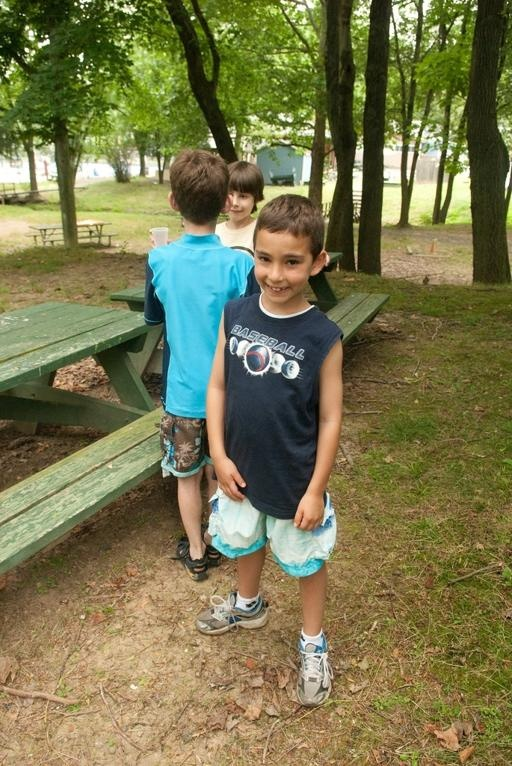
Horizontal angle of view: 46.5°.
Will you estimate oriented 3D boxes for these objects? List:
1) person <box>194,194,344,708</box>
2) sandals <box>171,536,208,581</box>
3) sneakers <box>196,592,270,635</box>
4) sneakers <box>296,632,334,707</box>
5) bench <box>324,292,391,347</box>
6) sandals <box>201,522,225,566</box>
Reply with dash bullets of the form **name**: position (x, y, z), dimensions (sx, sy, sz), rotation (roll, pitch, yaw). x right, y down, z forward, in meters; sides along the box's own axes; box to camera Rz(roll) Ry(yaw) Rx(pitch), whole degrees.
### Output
- **person**: position (0.053, 0.207, 1.719), dimensions (0.302, 1.429, 0.499), rotation (-16, 24, -39)
- **sandals**: position (-0.262, 0.707, 2.400), dimensions (0.078, 0.082, 0.191), rotation (-2, 19, -21)
- **sneakers**: position (-0.082, 0.800, 2.041), dimensions (0.242, 0.112, 0.119), rotation (-2, 33, -8)
- **sneakers**: position (0.172, 0.846, 1.778), dimensions (0.087, 0.084, 0.215), rotation (-2, 17, 6)
- **bench**: position (0.764, -0.470, 4.408), dimensions (0.173, 0.140, 0.990), rotation (37, 32, 10)
- **sandals**: position (-0.178, 0.669, 2.484), dimensions (0.071, 0.088, 0.204), rotation (0, 22, -1)
